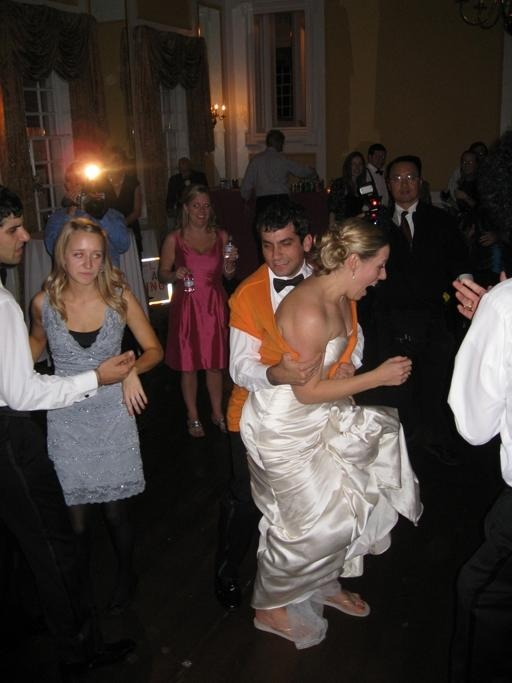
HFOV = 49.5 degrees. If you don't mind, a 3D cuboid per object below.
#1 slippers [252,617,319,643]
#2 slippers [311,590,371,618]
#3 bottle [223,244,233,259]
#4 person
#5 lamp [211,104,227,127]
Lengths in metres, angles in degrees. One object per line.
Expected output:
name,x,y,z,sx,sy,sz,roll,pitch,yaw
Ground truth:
slippers,0.112,1.101,2.144,0.235,0.087,0.077,1,11,26
slippers,0.367,1.039,2.231,0.171,0.038,0.089,7,25,25
bottle,-0.183,-0.592,3.643,0.084,0.125,0.082,5,11,-1
person,0.315,0.295,1.849,0.948,1.724,0.479,8,22,37
lamp,-0.703,-4.212,10.281,0.164,0.370,0.566,0,17,18
